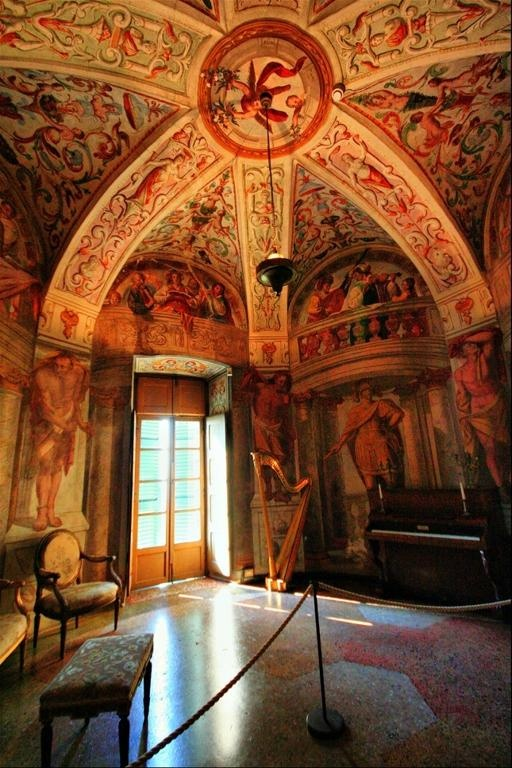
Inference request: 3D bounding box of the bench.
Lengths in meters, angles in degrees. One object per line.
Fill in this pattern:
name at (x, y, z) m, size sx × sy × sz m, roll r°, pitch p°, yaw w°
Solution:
bench at (-0.835, 1.891, 2.682) m, size 0.552 × 0.584 × 0.854 m, roll 0°, pitch -12°, yaw -4°
